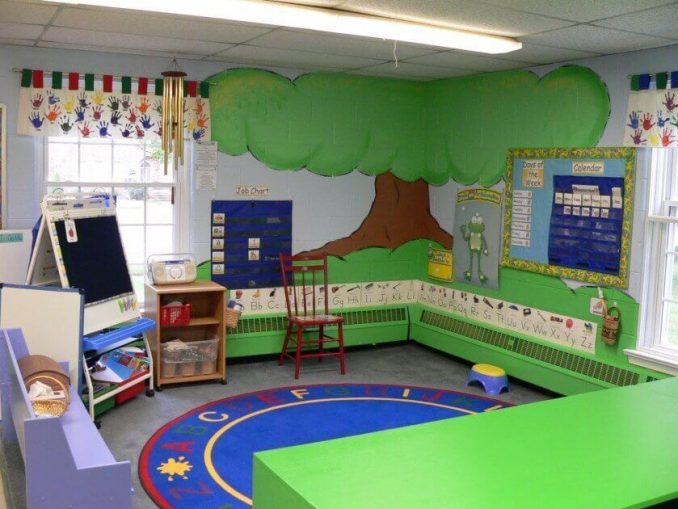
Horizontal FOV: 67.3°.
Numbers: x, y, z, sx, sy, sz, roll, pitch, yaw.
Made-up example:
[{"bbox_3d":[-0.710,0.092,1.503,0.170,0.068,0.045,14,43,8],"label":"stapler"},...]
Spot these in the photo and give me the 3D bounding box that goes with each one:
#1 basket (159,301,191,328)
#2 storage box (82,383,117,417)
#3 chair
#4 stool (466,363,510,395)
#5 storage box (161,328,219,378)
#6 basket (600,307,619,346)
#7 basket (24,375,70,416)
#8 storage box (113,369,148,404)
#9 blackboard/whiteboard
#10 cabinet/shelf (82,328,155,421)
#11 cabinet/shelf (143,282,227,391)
[{"bbox_3d":[-1.691,0.613,5.265,0.253,0.159,0.250,-1,3,-15],"label":"basket"},{"bbox_3d":[-2.152,1.320,4.608,0.296,0.178,0.297,0,-2,35],"label":"storage box"},{"bbox_3d":[-0.312,0.664,6.097,0.814,1.303,0.874,1,8,-4],"label":"chair"},{"bbox_3d":[1.580,1.295,5.410,0.300,0.162,0.310,2,7,-35],"label":"stool"},{"bbox_3d":[-1.692,1.070,5.532,0.682,0.401,0.464,5,5,-36],"label":"storage box"},{"bbox_3d":[2.553,0.671,4.825,0.147,0.408,0.148,-5,11,-39],"label":"basket"},{"bbox_3d":[-1.971,0.940,3.464,0.253,0.112,0.319,5,12,-40],"label":"basket"},{"bbox_3d":[-2.012,1.266,4.937,0.229,0.200,0.314,2,8,25],"label":"storage box"},{"bbox_3d":[-2.272,0.073,4.634,0.093,0.891,0.865,-13,0,24],"label":"blackboard/whiteboard"},{"bbox_3d":[-2.083,1.007,4.829,0.619,0.637,0.801,-6,7,-41],"label":"cabinet/shelf"},{"bbox_3d":[-1.635,0.822,5.471,0.726,0.947,0.538,1,1,-31],"label":"cabinet/shelf"}]
